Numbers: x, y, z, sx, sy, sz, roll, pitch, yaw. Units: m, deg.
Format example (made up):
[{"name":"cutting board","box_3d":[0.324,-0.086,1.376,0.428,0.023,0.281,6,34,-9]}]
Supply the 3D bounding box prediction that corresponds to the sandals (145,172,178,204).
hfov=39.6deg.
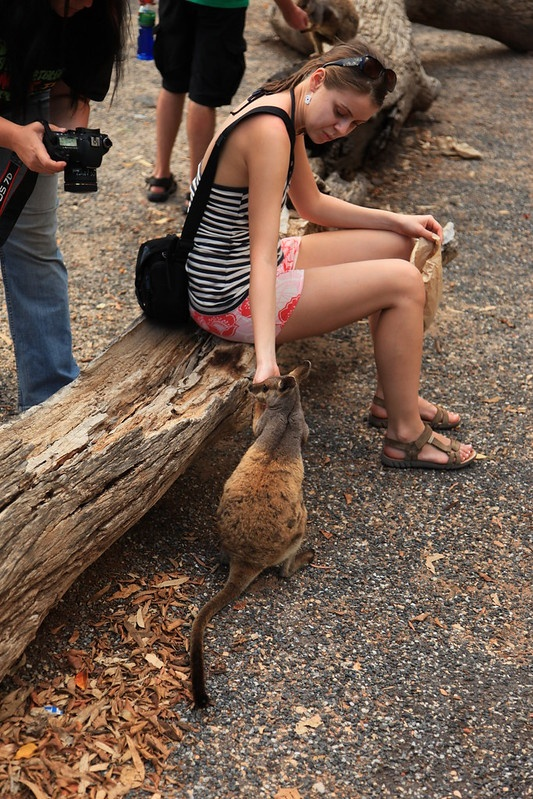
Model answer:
[{"name":"sandals","box_3d":[-0.854,-1.711,5.946,0.136,0.143,0.349,5,33,7]}]

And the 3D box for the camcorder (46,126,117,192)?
[{"name":"camcorder","box_3d":[-0.711,-0.886,2.788,0.165,0.277,0.348,11,31,15]}]

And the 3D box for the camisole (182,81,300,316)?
[{"name":"camisole","box_3d":[-0.124,-0.768,3.061,0.446,0.923,0.378,2,31,0]}]

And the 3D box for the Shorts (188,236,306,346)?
[{"name":"Shorts","box_3d":[-0.030,-0.496,3.449,0.527,0.457,0.698,-19,22,-25]}]

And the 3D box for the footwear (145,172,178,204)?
[{"name":"footwear","box_3d":[-0.842,-1.661,5.875,0.136,0.143,0.349,5,33,7]}]
